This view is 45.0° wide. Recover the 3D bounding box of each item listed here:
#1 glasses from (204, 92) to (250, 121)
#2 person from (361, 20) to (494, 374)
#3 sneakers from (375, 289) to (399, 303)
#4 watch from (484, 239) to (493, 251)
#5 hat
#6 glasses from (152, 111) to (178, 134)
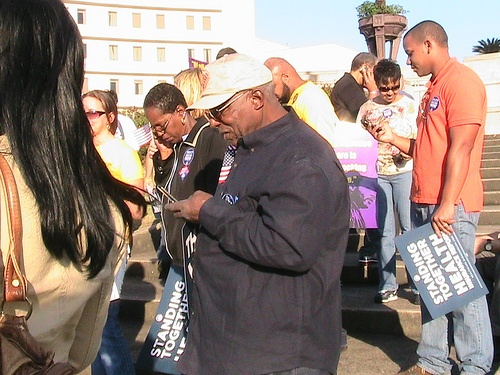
[{"bbox_3d":[-0.123,-0.455,3.321,0.179,0.051,0.176,-39,2,-13],"label":"glasses"},{"bbox_3d":[1.409,0.164,4.482,0.565,2.764,0.901,-5,10,-30],"label":"person"},{"bbox_3d":[1.363,1.090,6.092,0.252,0.133,0.099,0,12,-11],"label":"sneakers"},{"bbox_3d":[1.764,0.427,4.441,0.043,0.083,0.070,2,5,20],"label":"watch"},{"bbox_3d":[-0.116,-0.587,3.292,0.394,0.221,0.282,-21,6,-4],"label":"hat"},{"bbox_3d":[-0.698,-0.497,4.875,0.149,0.168,0.048,3,-32,49],"label":"glasses"}]
